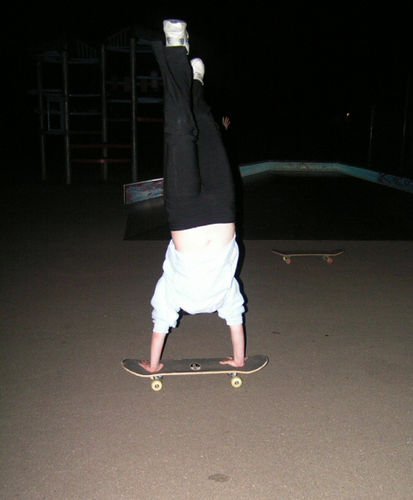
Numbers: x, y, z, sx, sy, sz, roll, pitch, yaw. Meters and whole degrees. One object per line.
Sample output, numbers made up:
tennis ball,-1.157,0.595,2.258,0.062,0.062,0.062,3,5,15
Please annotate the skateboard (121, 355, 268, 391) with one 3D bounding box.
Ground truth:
skateboard,-0.052,0.599,2.287,0.603,0.098,0.146,0,18,-4

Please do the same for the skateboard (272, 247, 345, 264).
skateboard,0.974,0.031,4.159,0.851,0.144,0.207,-1,10,3
